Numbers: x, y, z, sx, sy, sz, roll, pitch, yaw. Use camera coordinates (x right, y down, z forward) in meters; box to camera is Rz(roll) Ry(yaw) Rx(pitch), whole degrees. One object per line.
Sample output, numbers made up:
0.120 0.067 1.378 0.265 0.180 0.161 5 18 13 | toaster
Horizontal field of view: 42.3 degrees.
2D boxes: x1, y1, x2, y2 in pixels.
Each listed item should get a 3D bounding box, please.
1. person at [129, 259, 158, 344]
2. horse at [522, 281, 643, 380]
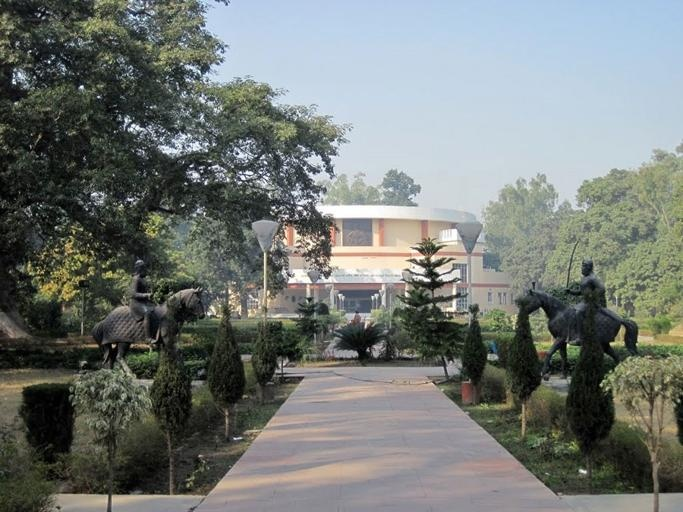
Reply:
-5.675 1.317 25.224 0.764 2.386 1.204 -1 -1 -15 | person
7.031 2.331 26.259 3.409 2.688 1.095 2 -4 17 | horse
